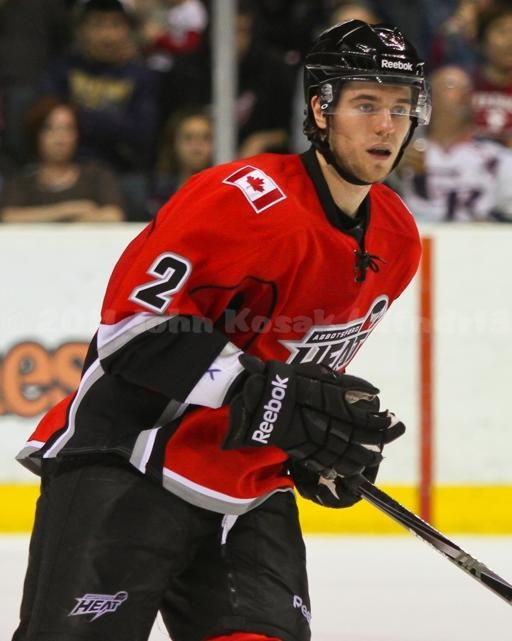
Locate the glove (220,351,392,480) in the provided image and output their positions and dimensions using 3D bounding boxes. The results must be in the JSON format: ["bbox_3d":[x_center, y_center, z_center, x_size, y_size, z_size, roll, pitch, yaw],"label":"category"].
[{"bbox_3d":[0.101,0.170,1.500,0.353,0.238,0.095,-5,16,-36],"label":"glove"}]

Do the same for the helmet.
[{"bbox_3d":[0.209,-0.496,1.760,0.209,0.199,0.253,8,-9,-38],"label":"helmet"}]
